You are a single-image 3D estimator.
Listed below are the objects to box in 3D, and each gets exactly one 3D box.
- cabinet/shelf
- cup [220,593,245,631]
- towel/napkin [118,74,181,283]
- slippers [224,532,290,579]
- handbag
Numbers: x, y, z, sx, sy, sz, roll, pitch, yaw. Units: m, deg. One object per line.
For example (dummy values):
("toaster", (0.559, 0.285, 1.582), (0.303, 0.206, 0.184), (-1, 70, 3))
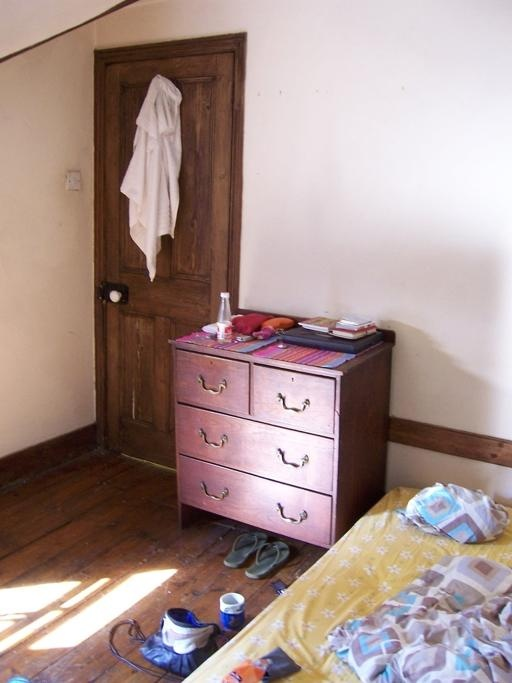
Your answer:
("cabinet/shelf", (0.112, 0.374, 2.289), (0.769, 0.784, 0.456), (8, 14, 33))
("cup", (-0.071, 0.788, 1.744), (0.088, 0.088, 0.087), (0, 1, 0))
("towel/napkin", (-0.454, -0.707, 2.649), (0.251, 0.891, 0.163), (7, 13, 30))
("slippers", (0.000, 0.768, 2.162), (0.109, 0.033, 0.144), (6, 19, 26))
("handbag", (-0.262, 0.816, 1.651), (0.237, 0.095, 0.179), (6, 20, 20))
